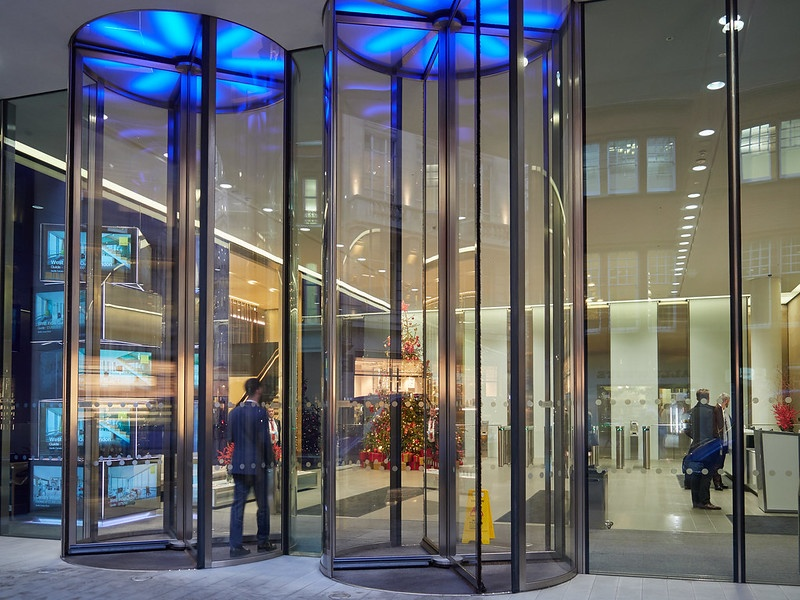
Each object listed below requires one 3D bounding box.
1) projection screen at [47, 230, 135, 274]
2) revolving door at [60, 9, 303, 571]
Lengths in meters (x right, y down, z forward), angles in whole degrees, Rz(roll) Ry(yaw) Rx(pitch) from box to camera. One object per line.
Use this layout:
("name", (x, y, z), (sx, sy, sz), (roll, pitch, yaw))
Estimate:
("projection screen", (-3.125, -0.495, 8.243), (0.936, 0.587, 0.092), (-6, 31, -37))
("revolving door", (-2.075, 0.058, 7.811), (1.915, 4.954, 1.644), (3, -10, -15))
